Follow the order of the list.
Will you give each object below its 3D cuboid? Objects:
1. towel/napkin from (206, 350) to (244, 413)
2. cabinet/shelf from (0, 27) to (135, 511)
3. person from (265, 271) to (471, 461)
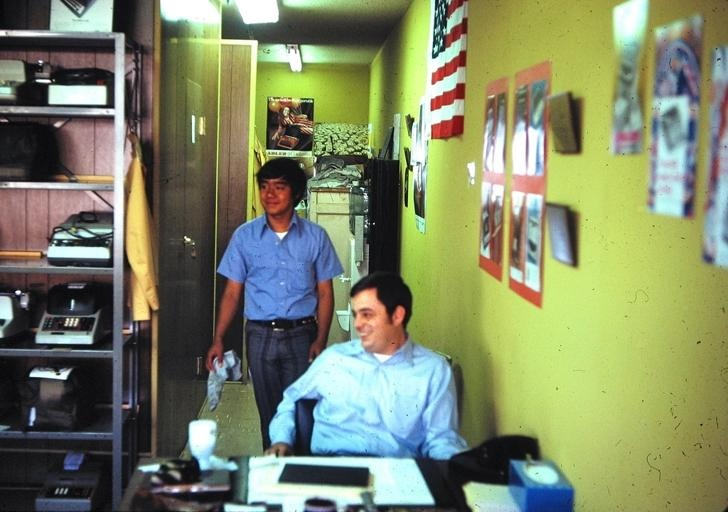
[{"bbox_3d":[-0.770,0.693,3.850,0.143,0.369,0.287,29,-48,-34],"label":"towel/napkin"},{"bbox_3d":[-1.648,0.128,3.658,0.709,2.653,0.572,-3,6,-16],"label":"cabinet/shelf"},{"bbox_3d":[0.032,0.498,2.815,0.871,0.812,0.512,2,0,19],"label":"person"}]
